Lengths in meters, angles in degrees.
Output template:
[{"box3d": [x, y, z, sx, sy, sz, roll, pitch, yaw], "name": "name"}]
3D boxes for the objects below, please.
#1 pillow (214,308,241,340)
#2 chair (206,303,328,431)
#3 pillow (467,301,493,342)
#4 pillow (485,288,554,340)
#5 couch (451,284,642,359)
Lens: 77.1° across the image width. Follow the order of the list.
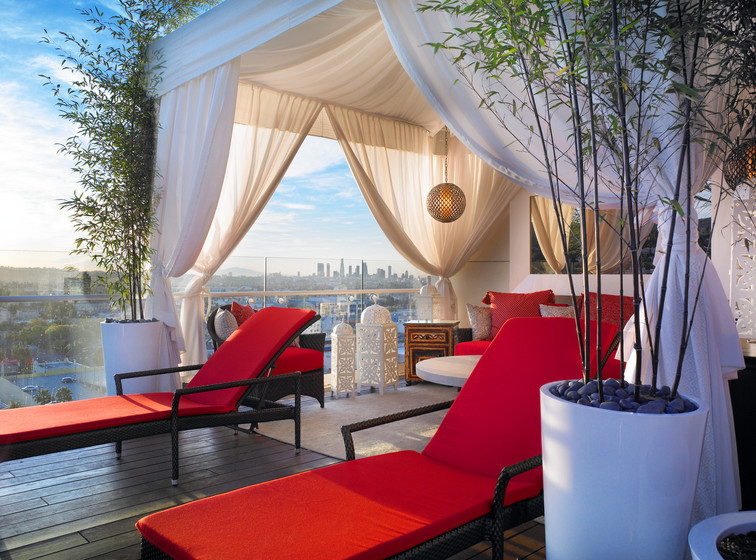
[{"box3d": [-1.498, 0.441, 4.712, 0.163, 0.284, 0.302, -7, 3, -34], "name": "pillow"}, {"box3d": [-1.145, 0.822, 5.146, 1.061, 1.126, 1.242, 1, -4, -42], "name": "chair"}, {"box3d": [1.304, 0.536, 6.118, 0.503, 0.462, 0.150, -4, -10, 9], "name": "pillow"}, {"box3d": [1.705, 0.397, 6.052, 0.700, 0.691, 0.948, 4, 1, -31], "name": "pillow"}, {"box3d": [1.669, 0.505, 5.515, 2.004, 0.770, 0.899, 6, 1, 45], "name": "couch"}]
